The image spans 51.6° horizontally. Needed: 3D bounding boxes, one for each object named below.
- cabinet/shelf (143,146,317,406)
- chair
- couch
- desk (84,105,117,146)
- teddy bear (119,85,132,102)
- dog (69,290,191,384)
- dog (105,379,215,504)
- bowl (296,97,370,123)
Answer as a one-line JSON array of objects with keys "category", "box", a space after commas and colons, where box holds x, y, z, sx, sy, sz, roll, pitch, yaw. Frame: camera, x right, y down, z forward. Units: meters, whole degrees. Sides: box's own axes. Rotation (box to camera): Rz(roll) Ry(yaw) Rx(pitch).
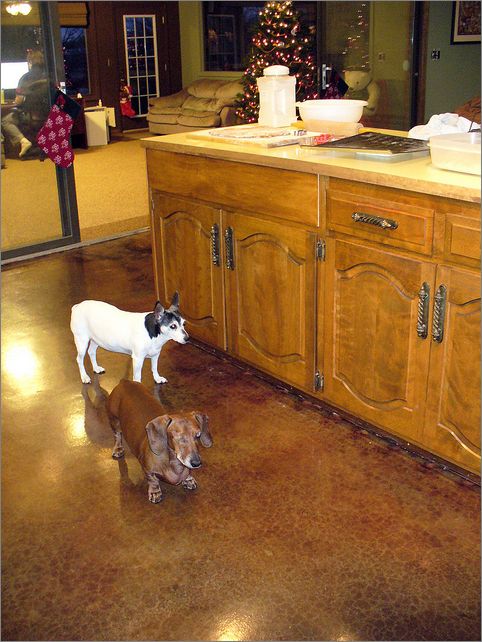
[{"category": "cabinet/shelf", "box": [-0.036, -0.198, 2.301, 0.821, 0.885, 0.436, 25, 38, 33]}, {"category": "chair", "box": [-1.736, -1.763, 4.396, 0.328, 0.721, 0.381, -6, 7, -16]}, {"category": "couch", "box": [-0.816, -4.069, 9.327, 1.000, 1.082, 2.195, -12, 17, -38]}, {"category": "desk", "box": [-2.815, -3.861, 9.850, 0.509, 0.755, 1.028, 0, 43, -3]}, {"category": "teddy bear", "box": [-2.562, -5.008, 10.972, 0.127, 0.378, 0.237, 17, 18, 39]}, {"category": "dog", "box": [-0.503, 0.095, 2.338, 0.685, 0.495, 0.260, 6, 14, 30]}, {"category": "dog", "box": [-0.294, 0.376, 1.710, 0.181, 0.394, 0.556, -14, 33, -36]}, {"category": "bowl", "box": [0.409, -0.965, 2.295, 0.313, 0.118, 0.245, 1, 14, 11]}]
